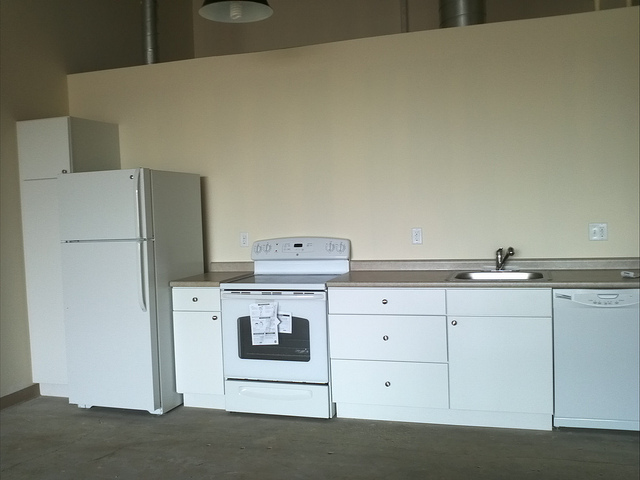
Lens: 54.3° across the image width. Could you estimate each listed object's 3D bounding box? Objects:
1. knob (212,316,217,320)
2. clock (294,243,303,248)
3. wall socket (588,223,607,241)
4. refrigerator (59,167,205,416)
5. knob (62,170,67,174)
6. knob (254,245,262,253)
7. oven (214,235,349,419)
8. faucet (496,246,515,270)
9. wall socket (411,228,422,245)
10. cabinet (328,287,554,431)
[{"bbox_3d":[-0.869,0.636,5.099,0.049,0.031,0.011,4,-3,5],"label":"knob"},{"bbox_3d":[-0.189,0.049,5.395,0.068,0.032,0.015,0,-5,17],"label":"clock"},{"bbox_3d":[2.217,-0.067,4.964,0.156,0.138,0.077,0,0,12],"label":"wall socket"},{"bbox_3d":[-1.572,0.437,5.214,1.109,2.002,0.553,-1,0,-20],"label":"refrigerator"},{"bbox_3d":[-2.223,-0.586,5.388,0.043,0.039,0.012,10,10,-7],"label":"knob"},{"bbox_3d":[-0.552,0.080,5.549,0.064,0.107,0.062,3,-3,18],"label":"knob"},{"bbox_3d":[-0.244,0.661,5.300,1.022,1.288,0.980,-2,5,8],"label":"oven"},{"bbox_3d":[1.496,0.147,5.039,0.142,0.137,0.169,-1,1,16],"label":"faucet"},{"bbox_3d":[0.813,-0.031,5.269,0.091,0.111,0.014,-1,0,9],"label":"wall socket"},{"bbox_3d":[0.993,0.903,5.090,1.725,0.997,0.929,-1,0,14],"label":"cabinet"}]
